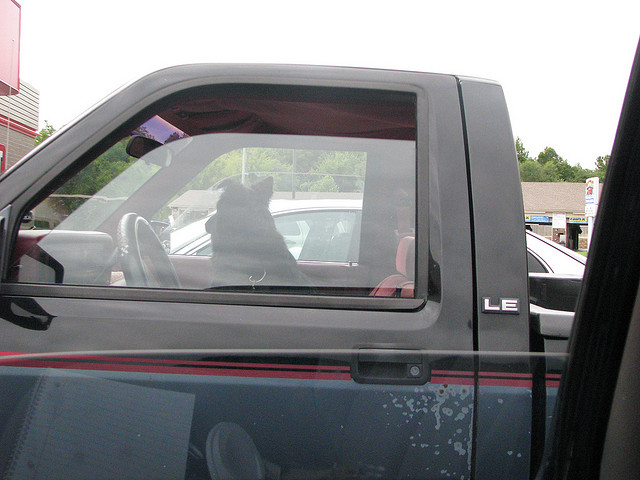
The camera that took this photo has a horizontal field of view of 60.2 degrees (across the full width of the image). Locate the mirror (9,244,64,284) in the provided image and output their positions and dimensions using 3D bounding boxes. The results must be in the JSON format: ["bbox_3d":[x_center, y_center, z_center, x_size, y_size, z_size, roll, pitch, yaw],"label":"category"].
[{"bbox_3d":[-0.922,0.091,1.790,0.124,0.144,0.124,-1,10,5],"label":"mirror"}]

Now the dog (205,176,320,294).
[{"bbox_3d":[-0.210,0.008,1.857,0.307,0.427,0.266,-3,13,-11],"label":"dog"}]

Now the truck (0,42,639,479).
[{"bbox_3d":[-0.057,0.083,1.952,1.779,1.033,1.146,2,-7,-2],"label":"truck"}]
